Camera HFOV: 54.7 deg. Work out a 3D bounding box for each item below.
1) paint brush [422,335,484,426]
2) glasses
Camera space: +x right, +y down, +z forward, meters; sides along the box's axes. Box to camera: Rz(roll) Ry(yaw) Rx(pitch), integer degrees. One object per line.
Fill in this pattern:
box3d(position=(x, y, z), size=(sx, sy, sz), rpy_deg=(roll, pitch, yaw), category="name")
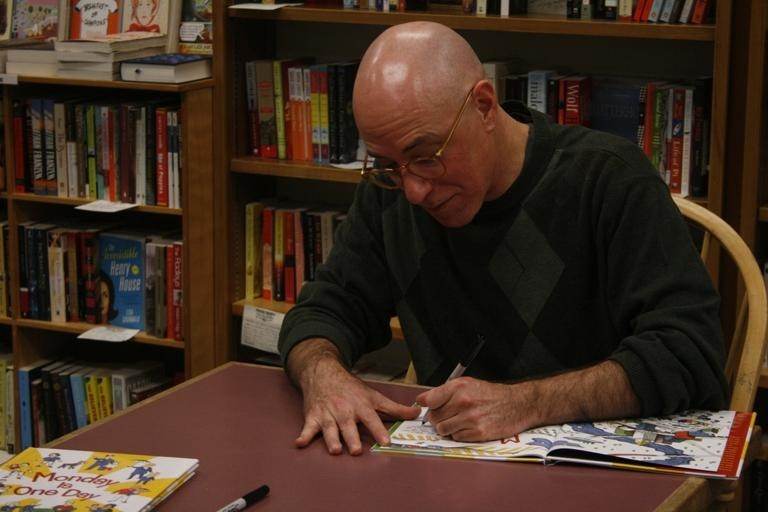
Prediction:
box3d(position=(0.161, 0.269, 1.628), size=(0.024, 0.199, 0.028), rpy_deg=(22, 28, -24), category="paint brush")
box3d(position=(0.095, -0.198, 1.627), size=(0.065, 0.231, 0.216), rpy_deg=(44, -22, -29), category="glasses")
